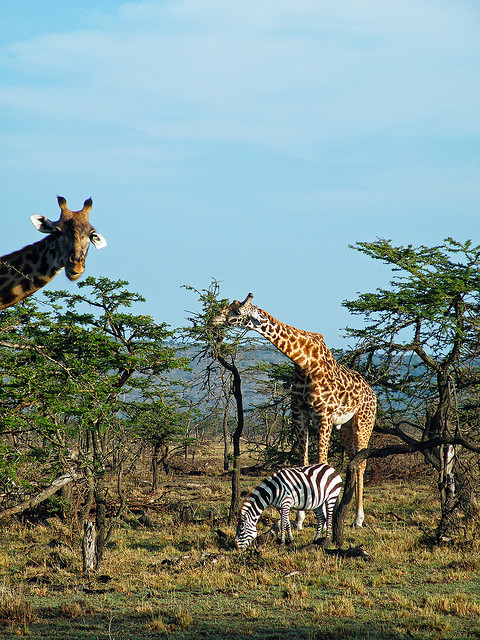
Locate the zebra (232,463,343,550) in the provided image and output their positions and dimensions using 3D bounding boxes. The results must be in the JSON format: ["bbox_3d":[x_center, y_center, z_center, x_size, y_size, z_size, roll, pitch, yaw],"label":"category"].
[{"bbox_3d":[1.182,4.258,33.088,2.649,2.108,0.835,-7,16,-20],"label":"zebra"}]

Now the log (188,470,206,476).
[{"bbox_3d":[-1.622,5.737,54.966,0.711,0.159,0.486,2,-12,5],"label":"log"}]
